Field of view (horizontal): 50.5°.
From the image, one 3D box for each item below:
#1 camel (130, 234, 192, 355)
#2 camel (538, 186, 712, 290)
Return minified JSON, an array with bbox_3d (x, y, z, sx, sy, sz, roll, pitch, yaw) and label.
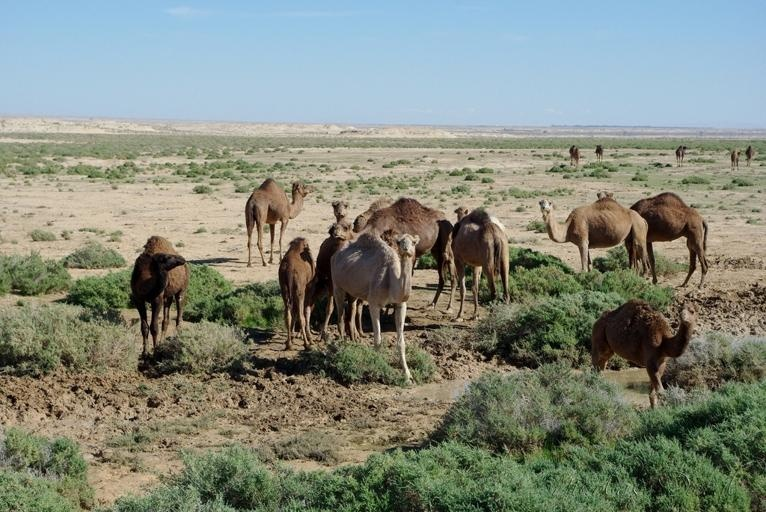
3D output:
[{"bbox_3d":[-4.912,0.947,17.832,1.290,2.649,2.567,1,-4,-3],"label":"camel"},{"bbox_3d":[6.719,-0.444,22.131,4.443,2.408,1.155,0,5,-6],"label":"camel"}]
